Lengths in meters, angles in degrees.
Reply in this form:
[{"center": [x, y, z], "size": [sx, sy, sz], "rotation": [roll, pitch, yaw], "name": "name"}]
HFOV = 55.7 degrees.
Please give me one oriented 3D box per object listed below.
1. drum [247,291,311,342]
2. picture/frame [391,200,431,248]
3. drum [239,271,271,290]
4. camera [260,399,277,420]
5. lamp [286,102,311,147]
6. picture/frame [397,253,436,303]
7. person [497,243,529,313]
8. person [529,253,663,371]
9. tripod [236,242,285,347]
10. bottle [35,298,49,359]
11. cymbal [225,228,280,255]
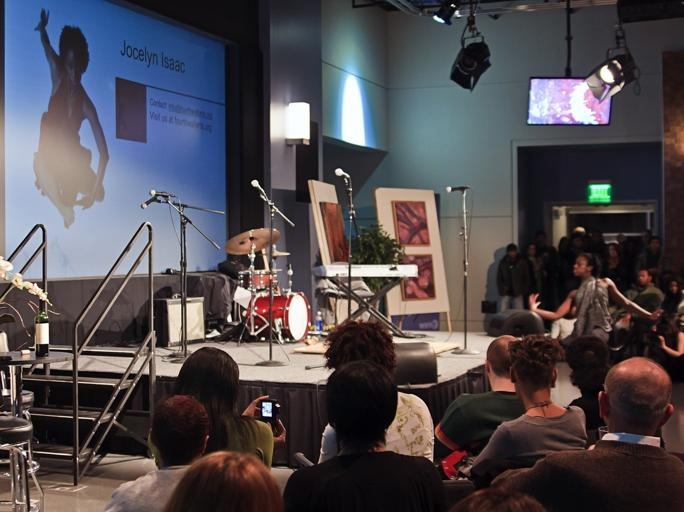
[{"center": [-0.816, 0.740, 7.686], "size": [0.549, 0.593, 0.903], "rotation": [-1, -2, 26], "name": "drum"}, {"center": [1.032, -0.478, 9.408], "size": [0.062, 0.667, 0.678], "rotation": [-12, 10, -38], "name": "picture/frame"}, {"center": [-1.106, 0.291, 8.002], "size": [0.280, 0.152, 0.317], "rotation": [2, 1, 24], "name": "drum"}, {"center": [-0.405, 0.847, 3.568], "size": [0.113, 0.110, 0.065], "rotation": [-4, -7, 31], "name": "camera"}, {"center": [-0.670, -1.994, 9.705], "size": [0.339, 0.593, 0.243], "rotation": [0, -1, -15], "name": "lamp"}, {"center": [1.010, 0.327, 8.883], "size": [0.585, 0.689, 0.048], "rotation": [14, -25, -40], "name": "picture/frame"}, {"center": [2.914, 0.349, 11.045], "size": [0.551, 1.102, 0.365], "rotation": [-1, -2, 35], "name": "person"}, {"center": [2.624, 0.673, 6.618], "size": [1.372, 1.447, 0.564], "rotation": [4, -14, 27], "name": "person"}, {"center": [-1.041, 0.409, 7.736], "size": [0.539, 1.240, 0.516], "rotation": [-1, -6, -4], "name": "tripod"}, {"center": [-2.135, 0.503, 4.597], "size": [0.083, 0.381, 0.401], "rotation": [0, -2, -27], "name": "bottle"}, {"center": [-1.086, -0.171, 7.521], "size": [0.525, 0.279, 0.450], "rotation": [0, -2, -16], "name": "cymbal"}]
